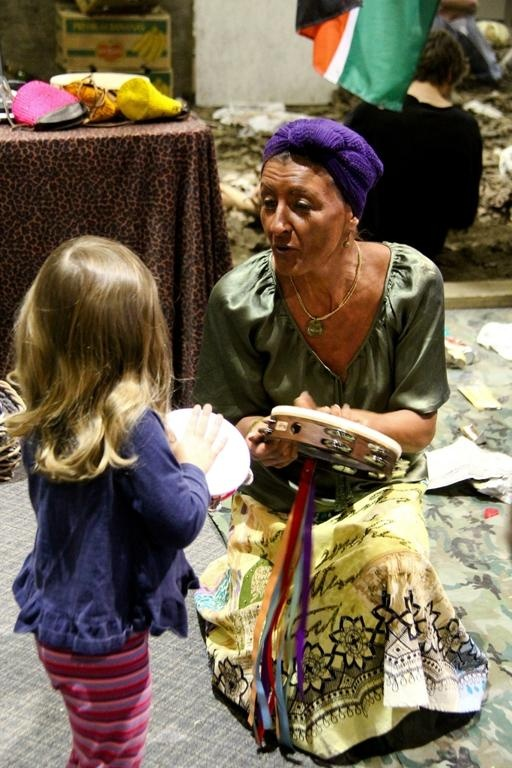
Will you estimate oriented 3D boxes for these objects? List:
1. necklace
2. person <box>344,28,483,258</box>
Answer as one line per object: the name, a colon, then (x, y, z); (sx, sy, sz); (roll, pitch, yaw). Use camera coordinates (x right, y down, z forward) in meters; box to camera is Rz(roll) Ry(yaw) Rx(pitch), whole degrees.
necklace: (0.171, -0.224, 1.598); (0.141, 0.213, 0.053); (15, 22, 14)
person: (0.811, -1.157, 3.507); (0.793, 1.306, 0.683); (2, 47, 18)
